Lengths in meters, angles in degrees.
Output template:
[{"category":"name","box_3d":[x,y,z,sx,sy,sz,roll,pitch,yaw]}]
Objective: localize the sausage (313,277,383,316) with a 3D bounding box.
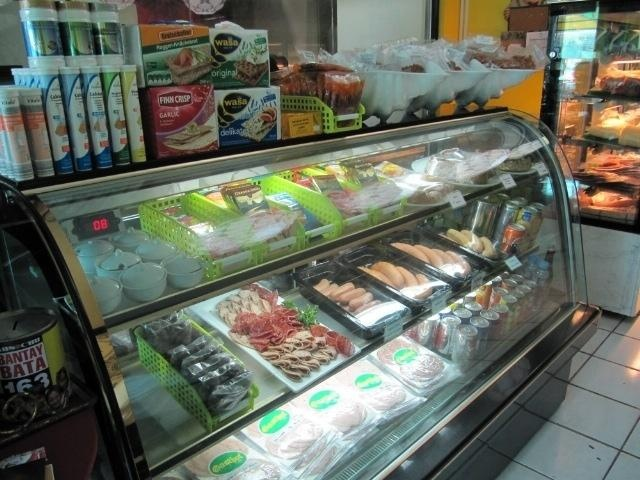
[{"category":"sausage","box_3d":[0.130,0.209,1.751,0.179,0.042,0.185,27,25,37]}]

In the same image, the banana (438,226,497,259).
[{"category":"banana","box_3d":[0.755,0.011,2.143,0.278,0.058,0.145,21,39,-4]}]

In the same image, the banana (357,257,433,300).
[{"category":"banana","box_3d":[0.334,0.177,1.871,0.296,0.082,0.147,23,31,14]}]

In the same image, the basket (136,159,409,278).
[{"category":"basket","box_3d":[-0.071,-0.103,1.491,0.835,0.095,0.386,-18,32,-38]}]

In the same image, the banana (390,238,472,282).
[{"category":"banana","box_3d":[0.535,0.087,2.007,0.328,0.064,0.195,23,24,21]}]

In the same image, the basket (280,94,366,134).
[{"category":"basket","box_3d":[-0.004,-0.514,1.728,0.308,0.090,0.177,-17,31,-31]}]

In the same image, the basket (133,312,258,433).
[{"category":"basket","box_3d":[-0.447,0.388,1.371,0.481,0.145,0.238,31,26,29]}]

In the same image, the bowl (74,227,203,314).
[{"category":"bowl","box_3d":[-0.490,0.070,1.147,0.256,0.071,0.244,11,25,-5]}]
